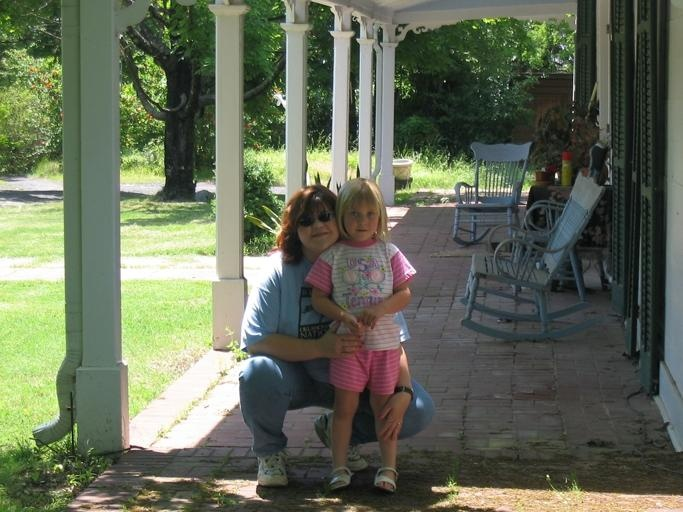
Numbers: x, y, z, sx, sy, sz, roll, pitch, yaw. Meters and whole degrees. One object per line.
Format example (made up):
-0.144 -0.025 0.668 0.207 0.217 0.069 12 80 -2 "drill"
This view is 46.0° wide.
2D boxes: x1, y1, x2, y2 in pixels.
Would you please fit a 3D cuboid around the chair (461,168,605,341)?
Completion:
1.433 0.019 6.309 1.103 1.289 1.028 -6 14 -23 "chair"

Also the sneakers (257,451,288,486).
-0.341 1.060 4.025 0.121 0.164 0.346 -7 -3 1 "sneakers"

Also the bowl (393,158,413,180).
1.259 -1.824 16.795 0.414 0.286 0.436 -1 9 0 "bowl"

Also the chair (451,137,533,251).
1.878 -0.774 10.598 0.962 1.268 0.841 0 -1 44 "chair"

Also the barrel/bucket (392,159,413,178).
1.266 -1.826 16.781 0.415 0.287 0.439 0 10 0 "barrel/bucket"

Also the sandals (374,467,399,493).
0.213 1.081 3.824 0.091 0.085 0.270 0 -6 2 "sandals"

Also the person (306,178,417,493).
0.112 0.389 3.887 0.537 1.499 0.451 -4 10 -6 "person"
